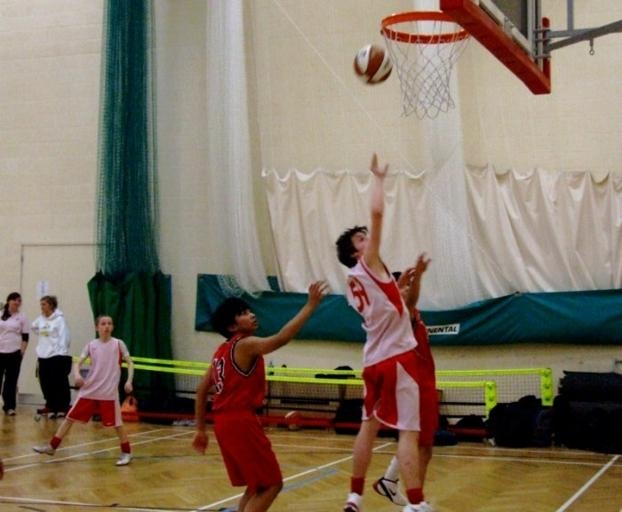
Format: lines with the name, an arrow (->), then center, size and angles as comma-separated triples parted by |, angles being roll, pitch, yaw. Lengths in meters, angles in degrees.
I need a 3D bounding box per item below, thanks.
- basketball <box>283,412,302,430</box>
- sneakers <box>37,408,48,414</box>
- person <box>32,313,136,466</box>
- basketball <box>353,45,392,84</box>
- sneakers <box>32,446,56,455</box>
basketball -> -0.247, 2.231, 11.202 | 0.203, 0.233, 0.217 | 0, 2, -16
sneakers -> -3.993, 2.296, 12.153 | 0.191, 0.103, 0.097 | -1, 1, 3
person -> -2.924, 1.757, 10.664 | 1.124, 2.209, 0.691 | -4, -21, 2
basketball -> 0.618, -2.114, 8.973 | 0.343, 0.480, 0.427 | 2, 0, -27
sneakers -> -3.056, 2.231, 9.419 | 0.247, 0.126, 0.097 | 9, -6, 12
